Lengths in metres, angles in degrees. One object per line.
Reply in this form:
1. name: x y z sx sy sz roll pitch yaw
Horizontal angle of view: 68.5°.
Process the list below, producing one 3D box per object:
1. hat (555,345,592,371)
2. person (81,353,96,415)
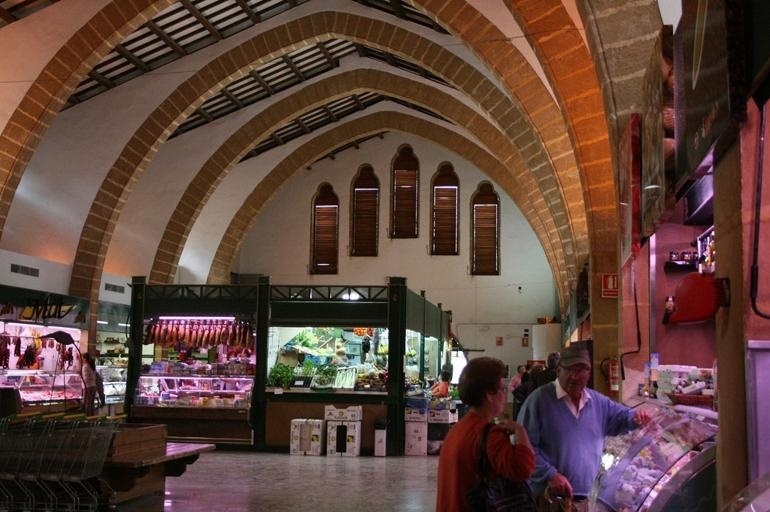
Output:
1. hat: 1.310 0.684 3.976 0.193 0.153 0.277 2 -16 5
2. person: -5.745 2.500 11.071 0.336 1.189 1.014 7 -12 -27
